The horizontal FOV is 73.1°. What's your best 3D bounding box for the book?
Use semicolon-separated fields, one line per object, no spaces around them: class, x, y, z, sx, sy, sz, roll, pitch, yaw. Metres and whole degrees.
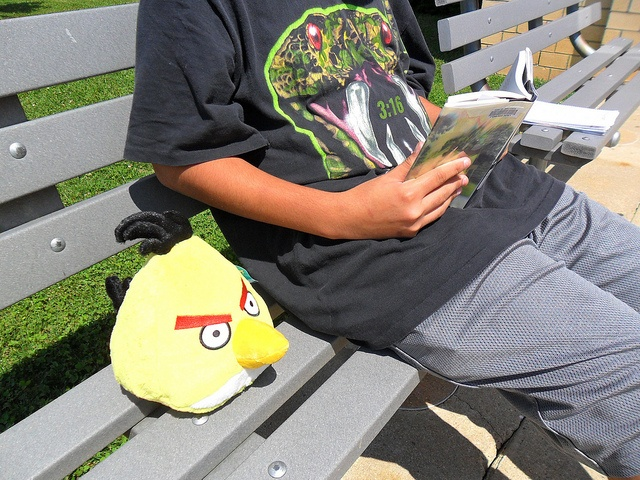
book;0.365;-0.282;1.258;0.345;0.387;0.153;-10;50;-25
